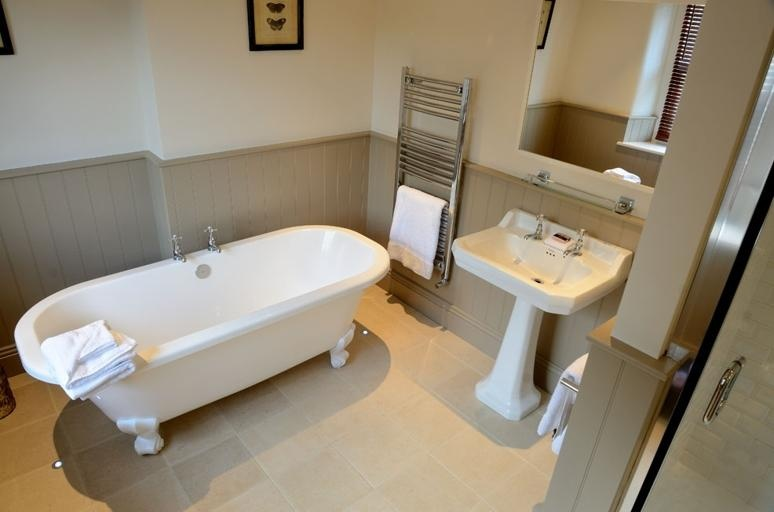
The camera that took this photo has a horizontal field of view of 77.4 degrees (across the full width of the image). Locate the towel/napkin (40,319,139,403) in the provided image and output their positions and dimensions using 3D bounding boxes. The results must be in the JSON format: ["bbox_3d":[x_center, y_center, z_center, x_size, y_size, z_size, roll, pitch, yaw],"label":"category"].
[{"bbox_3d":[-1.457,0.514,2.444,0.387,0.142,0.369,32,41,33],"label":"towel/napkin"}]

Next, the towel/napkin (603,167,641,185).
[{"bbox_3d":[1.356,-0.477,2.750,0.093,0.038,0.120,-17,35,-34],"label":"towel/napkin"}]

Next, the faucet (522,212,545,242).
[{"bbox_3d":[0.952,-0.186,3.102,0.163,0.180,0.065,-29,45,-30],"label":"faucet"}]

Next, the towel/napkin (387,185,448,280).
[{"bbox_3d":[0.202,-0.178,3.628,0.167,0.639,0.576,-11,34,-44],"label":"towel/napkin"}]

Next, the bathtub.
[{"bbox_3d":[-1.080,0.483,3.227,2.113,0.837,0.913,-16,34,-30],"label":"bathtub"}]

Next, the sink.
[{"bbox_3d":[0.944,-0.153,2.751,0.646,0.401,0.959,-22,36,-33],"label":"sink"}]

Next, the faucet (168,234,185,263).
[{"bbox_3d":[-1.461,-0.065,3.366,0.082,0.183,0.172,-17,42,-35],"label":"faucet"}]
